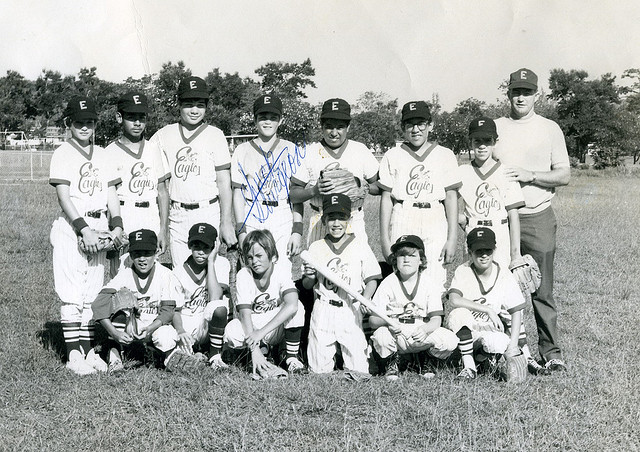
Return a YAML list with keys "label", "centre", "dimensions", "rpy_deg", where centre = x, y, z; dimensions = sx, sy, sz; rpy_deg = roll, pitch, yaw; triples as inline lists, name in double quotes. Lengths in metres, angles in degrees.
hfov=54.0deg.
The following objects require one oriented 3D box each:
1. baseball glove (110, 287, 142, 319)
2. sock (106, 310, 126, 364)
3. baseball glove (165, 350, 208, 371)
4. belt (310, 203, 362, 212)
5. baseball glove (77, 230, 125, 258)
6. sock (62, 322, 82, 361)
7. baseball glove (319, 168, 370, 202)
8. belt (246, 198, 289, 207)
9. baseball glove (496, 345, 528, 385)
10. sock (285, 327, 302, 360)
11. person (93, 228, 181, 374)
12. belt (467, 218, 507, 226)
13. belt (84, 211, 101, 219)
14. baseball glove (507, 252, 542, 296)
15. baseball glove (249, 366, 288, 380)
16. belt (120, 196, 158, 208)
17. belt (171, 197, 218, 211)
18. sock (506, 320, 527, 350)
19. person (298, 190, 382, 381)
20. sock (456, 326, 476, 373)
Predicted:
- label: "baseball glove"
  centre: [-2.246, 0.902, 7.258]
  dimensions: [0.319, 0.224, 0.437]
  rpy_deg: [-15, -22, 18]
- label: "sock"
  centre: [-2.370, 1.226, 7.282]
  dimensions: [0.223, 0.581, 0.480]
  rpy_deg: [-3, 11, -18]
- label: "baseball glove"
  centre: [-1.486, 1.491, 6.902]
  dimensions: [0.346, 0.130, 0.216]
  rpy_deg: [2, 2, -6]
- label: "belt"
  centre: [0.182, -0.212, 7.559]
  dimensions: [0.612, 0.096, 0.137]
  rpy_deg: [3, 12, 13]
- label: "baseball glove"
  centre: [-2.539, 0.190, 7.261]
  dimensions: [0.507, 0.288, 0.234]
  rpy_deg: [-5, 12, -23]
- label: "sock"
  centre: [-2.840, 1.323, 7.189]
  dimensions: [0.195, 0.417, 0.220]
  rpy_deg: [-4, 11, -23]
- label: "baseball glove"
  centre: [0.281, -0.509, 7.198]
  dimensions: [0.433, 0.134, 0.426]
  rpy_deg: [-3, 30, -47]
- label: "belt"
  centre: [-0.622, -0.275, 7.615]
  dimensions: [0.479, 0.078, 0.111]
  rpy_deg: [-1, 11, -7]
- label: "baseball glove"
  centre: [2.087, 1.550, 6.884]
  dimensions: [0.270, 0.389, 0.379]
  rpy_deg: [-7, -8, -15]
- label: "sock"
  centre: [-0.332, 1.356, 7.294]
  dimensions: [0.144, 0.513, 0.352]
  rpy_deg: [-3, 12, -8]
- label: "person"
  centre: [-2.087, 0.731, 7.183]
  dimensions: [0.939, 1.324, 0.622]
  rpy_deg: [0, 10, -4]
- label: "belt"
  centre: [1.980, -0.046, 7.427]
  dimensions: [0.445, 0.078, 0.095]
  rpy_deg: [4, 12, 16]
- label: "belt"
  centre: [-2.676, -0.129, 7.331]
  dimensions: [0.173, 0.138, 0.066]
  rpy_deg: [7, -6, -38]
- label: "baseball glove"
  centre: [2.371, 0.565, 7.303]
  dimensions: [0.334, 0.449, 0.171]
  rpy_deg: [-14, -2, -8]
- label: "baseball glove"
  centre: [-0.557, 1.619, 6.818]
  dimensions: [0.409, 0.182, 0.152]
  rpy_deg: [-4, -5, 1]
- label: "belt"
  centre: [-2.239, -0.276, 7.719]
  dimensions: [0.437, 0.098, 0.115]
  rpy_deg: [-3, 11, -14]
- label: "belt"
  centre: [-1.496, -0.268, 7.765]
  dimensions: [0.448, 0.128, 0.101]
  rpy_deg: [-3, 11, -15]
- label: "sock"
  centre: [2.278, 1.266, 7.173]
  dimensions: [0.268, 0.272, 0.079]
  rpy_deg: [-3, -12, 40]
- label: "person"
  centre: [0.186, 0.935, 7.306]
  dimensions: [1.002, 2.428, 0.686]
  rpy_deg: [2, 14, 8]
- label: "sock"
  centre: [1.605, 1.332, 6.891]
  dimensions: [0.140, 0.587, 0.177]
  rpy_deg: [-7, 0, 9]
